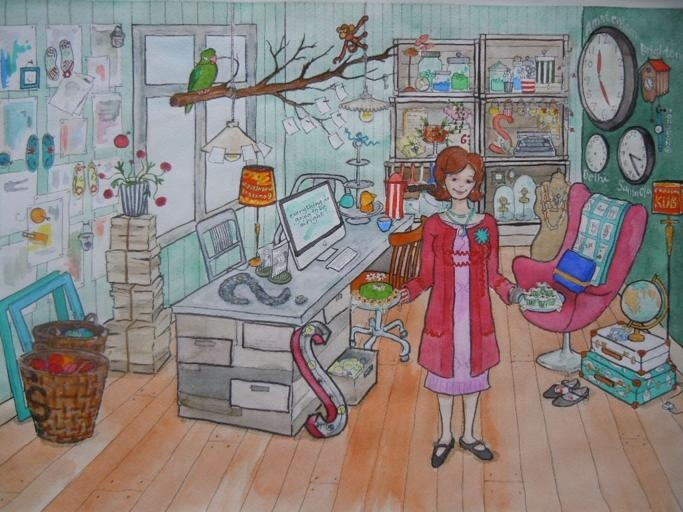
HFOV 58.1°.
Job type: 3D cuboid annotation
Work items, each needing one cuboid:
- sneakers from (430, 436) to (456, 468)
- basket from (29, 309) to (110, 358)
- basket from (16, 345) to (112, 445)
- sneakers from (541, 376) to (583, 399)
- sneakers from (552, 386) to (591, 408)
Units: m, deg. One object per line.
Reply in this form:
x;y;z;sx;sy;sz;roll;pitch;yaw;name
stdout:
0.611;1.160;3.700;0.069;0.213;0.074;13;-21;33;sneakers
-1.704;0.444;3.860;0.286;0.154;0.302;5;6;25;basket
-1.653;0.829;3.818;0.484;0.456;0.535;9;2;-1;basket
1.380;0.845;3.928;0.278;0.081;0.109;-17;55;-3;sneakers
1.441;0.884;3.857;0.170;0.061;0.133;-17;19;3;sneakers
